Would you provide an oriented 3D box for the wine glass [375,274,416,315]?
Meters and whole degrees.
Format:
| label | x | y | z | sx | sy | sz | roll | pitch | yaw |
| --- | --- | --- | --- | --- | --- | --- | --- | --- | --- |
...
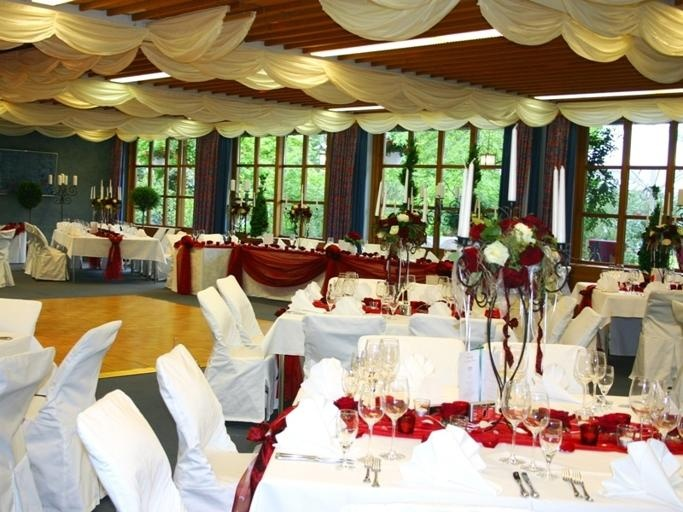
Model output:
| label | x | y | z | sx | sy | sz | roll | pitch | yaw |
| --- | --- | --- | --- | --- | --- | --- | --- | --- | --- |
| wine glass | 0.496 | 0.359 | 4.933 | 0.354 | 0.474 | 0.375 | 1 | -1 | 13 |

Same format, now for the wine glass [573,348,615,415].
| label | x | y | z | sx | sy | sz | roll | pitch | yaw |
| --- | --- | --- | --- | --- | --- | --- | --- | --- | --- |
| wine glass | 1.243 | 0.609 | 2.634 | 0.162 | 0.331 | 0.368 | 4 | 4 | 28 |

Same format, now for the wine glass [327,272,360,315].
| label | x | y | z | sx | sy | sz | roll | pitch | yaw |
| --- | --- | --- | --- | --- | --- | --- | --- | --- | --- |
| wine glass | 0.013 | 0.351 | 4.949 | 0.330 | 0.507 | 0.315 | 2 | 8 | 7 |

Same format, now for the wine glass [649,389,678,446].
| label | x | y | z | sx | sy | sz | roll | pitch | yaw |
| --- | --- | --- | --- | --- | --- | --- | --- | --- | --- |
| wine glass | 1.318 | 0.643 | 2.161 | 0.108 | 0.180 | 0.055 | 2 | 4 | 0 |
